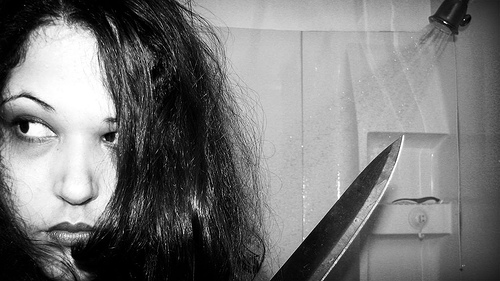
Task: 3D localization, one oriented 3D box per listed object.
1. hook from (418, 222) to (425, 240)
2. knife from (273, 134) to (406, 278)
[{"bbox_3d":[0.547,0.290,1.708,0.021,0.052,0.003,4,0,-18],"label":"hook"},{"bbox_3d":[0.262,0.212,1.679,0.085,0.566,0.023,44,6,27],"label":"knife"}]
